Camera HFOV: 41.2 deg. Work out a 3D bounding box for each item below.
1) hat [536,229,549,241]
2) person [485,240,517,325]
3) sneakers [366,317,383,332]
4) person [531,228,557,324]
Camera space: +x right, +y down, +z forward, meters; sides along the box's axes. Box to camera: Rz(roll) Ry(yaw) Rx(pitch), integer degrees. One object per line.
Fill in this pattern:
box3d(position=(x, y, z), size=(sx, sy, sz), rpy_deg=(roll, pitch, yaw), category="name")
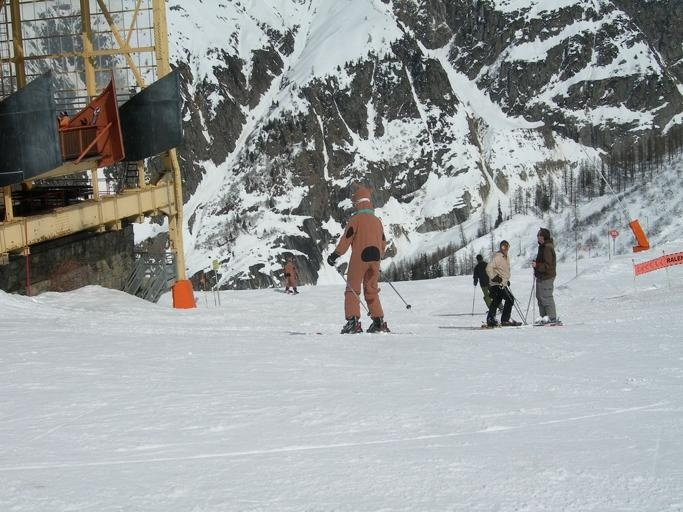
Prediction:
box3d(position=(3.866, -0.405, 17.370), size=(0.181, 0.271, 0.270), rpy_deg=(15, 13, 10), category="hat")
box3d(position=(3.259, 0.544, 18.426), size=(0.589, 1.745, 2.007), rpy_deg=(1, 4, 10), category="person")
box3d(position=(0.625, 1.300, 17.087), size=(0.194, 0.329, 0.269), rpy_deg=(5, -8, -45), category="sneakers")
box3d(position=(3.933, 0.396, 17.487), size=(0.504, 1.837, 0.683), rpy_deg=(1, 3, 12), category="person")
